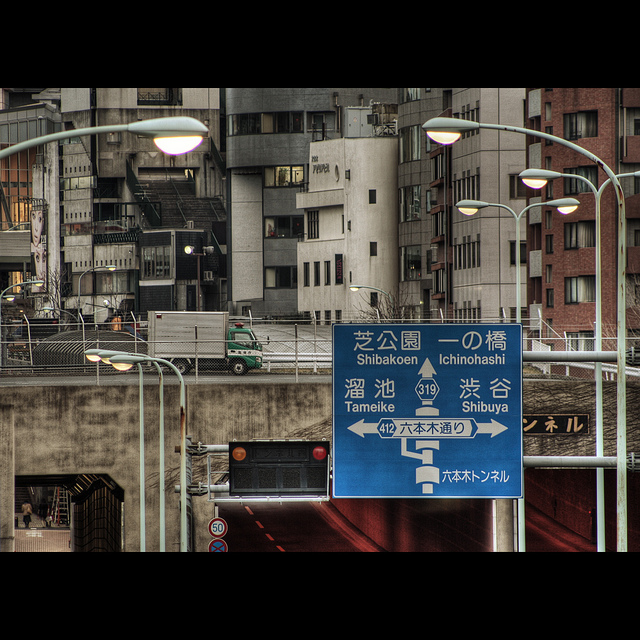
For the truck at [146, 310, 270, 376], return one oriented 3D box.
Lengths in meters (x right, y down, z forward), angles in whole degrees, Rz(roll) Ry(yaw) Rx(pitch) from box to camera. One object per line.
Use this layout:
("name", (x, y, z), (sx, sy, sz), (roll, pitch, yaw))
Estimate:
("truck", (-4.975, 0.976, 88.929), (5.572, 3.486, 2.247), (-1, 2, -4))
